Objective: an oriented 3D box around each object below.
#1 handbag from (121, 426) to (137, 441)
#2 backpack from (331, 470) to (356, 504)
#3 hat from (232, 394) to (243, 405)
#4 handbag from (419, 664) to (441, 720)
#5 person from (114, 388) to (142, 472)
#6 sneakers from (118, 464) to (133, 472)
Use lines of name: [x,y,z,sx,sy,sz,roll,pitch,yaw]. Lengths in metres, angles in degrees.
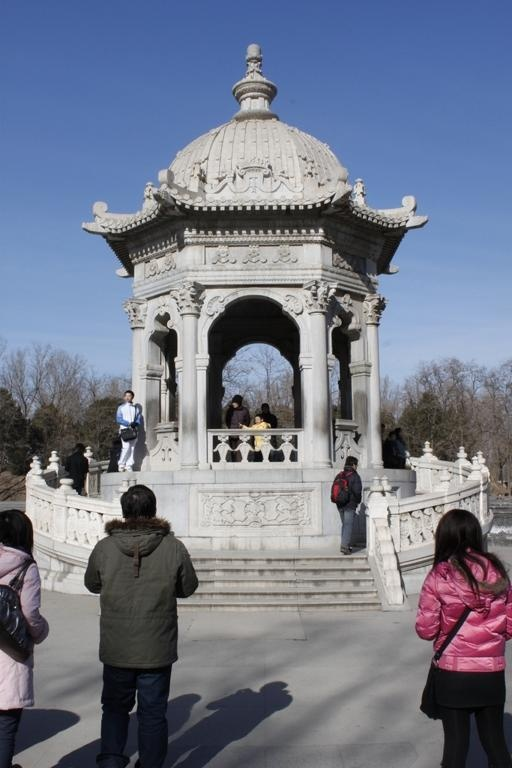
handbag: [-2.149,0.852,15.327,0.191,0.183,0.112,-13,-29,-3]
backpack: [1.238,1.473,12.665,0.276,0.500,0.366,32,-45,-25]
hat: [-0.332,0.299,15.908,0.155,0.211,0.212,-1,10,3]
handbag: [0.901,1.609,4.703,0.129,0.294,0.110,22,-30,-32]
person: [-2.163,0.844,15.613,0.421,1.207,1.230,0,0,-8]
sneakers: [-2.221,1.461,15.563,0.126,0.137,0.312,4,-9,-24]
